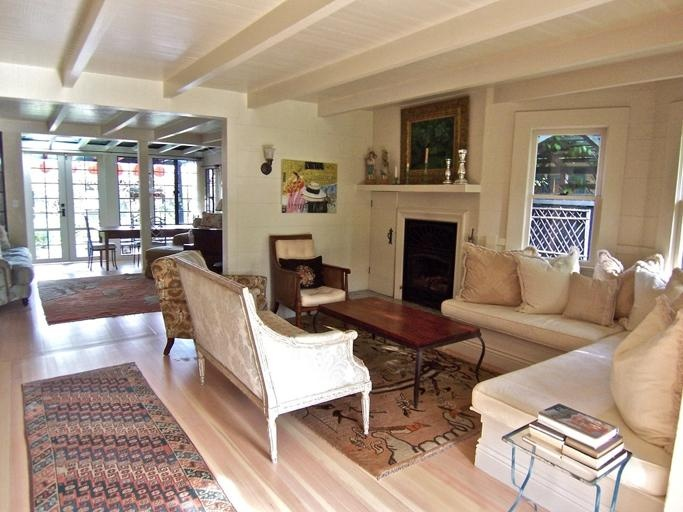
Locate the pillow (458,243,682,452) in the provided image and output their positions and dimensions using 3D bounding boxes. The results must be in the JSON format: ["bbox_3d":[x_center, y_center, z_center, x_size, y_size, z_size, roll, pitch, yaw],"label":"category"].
[{"bbox_3d":[2.190,0.786,4.743,1.173,1.354,2.678,-9,11,-39],"label":"pillow"}]

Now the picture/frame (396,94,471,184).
[{"bbox_3d":[1.214,-1.509,6.147,0.061,1.203,1.289,-2,-1,-30],"label":"picture/frame"}]

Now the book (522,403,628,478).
[{"bbox_3d":[1.300,0.917,2.606,0.379,0.209,0.488,-13,18,-30],"label":"book"}]

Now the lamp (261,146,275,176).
[{"bbox_3d":[-0.929,-1.182,5.989,0.158,0.365,0.113,-5,11,-27],"label":"lamp"}]

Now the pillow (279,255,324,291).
[{"bbox_3d":[-0.408,0.200,5.827,0.458,0.381,0.128,-1,-3,-17],"label":"pillow"}]
